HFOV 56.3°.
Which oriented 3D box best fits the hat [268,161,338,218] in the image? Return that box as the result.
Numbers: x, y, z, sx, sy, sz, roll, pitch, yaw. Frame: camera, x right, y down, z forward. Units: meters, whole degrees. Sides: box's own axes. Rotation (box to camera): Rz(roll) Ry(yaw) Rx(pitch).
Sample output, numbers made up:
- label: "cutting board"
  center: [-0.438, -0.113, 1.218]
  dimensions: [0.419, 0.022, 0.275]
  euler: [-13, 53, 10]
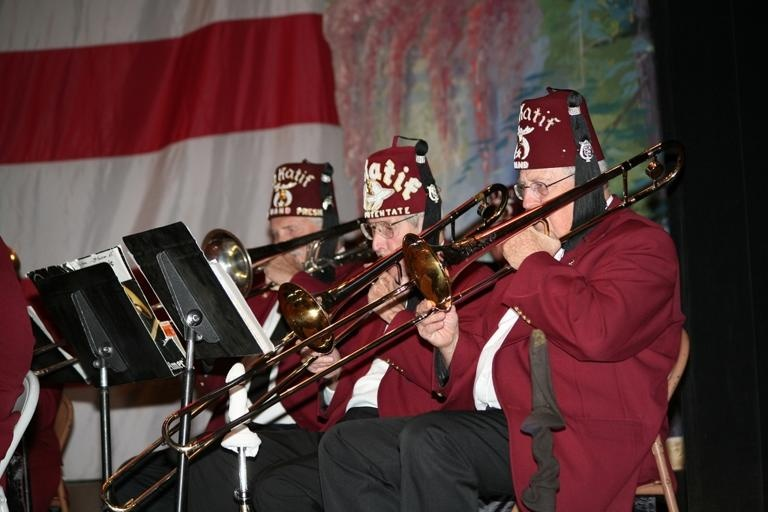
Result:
- label: "hat"
  center: [-0.471, -0.384, 4.391]
  dimensions: [0.363, 0.363, 0.350]
  euler: [4, -8, 4]

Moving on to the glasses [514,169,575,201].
- label: "glasses"
  center: [0.728, -0.321, 3.265]
  dimensions: [0.187, 0.059, 0.129]
  euler: [-16, 4, -17]

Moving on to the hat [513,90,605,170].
- label: "hat"
  center: [0.746, -0.556, 3.281]
  dimensions: [0.411, 0.379, 0.340]
  euler: [-1, -6, 2]

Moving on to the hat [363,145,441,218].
- label: "hat"
  center: [0.047, -0.352, 3.671]
  dimensions: [0.422, 0.400, 0.309]
  euler: [-1, -10, -7]
